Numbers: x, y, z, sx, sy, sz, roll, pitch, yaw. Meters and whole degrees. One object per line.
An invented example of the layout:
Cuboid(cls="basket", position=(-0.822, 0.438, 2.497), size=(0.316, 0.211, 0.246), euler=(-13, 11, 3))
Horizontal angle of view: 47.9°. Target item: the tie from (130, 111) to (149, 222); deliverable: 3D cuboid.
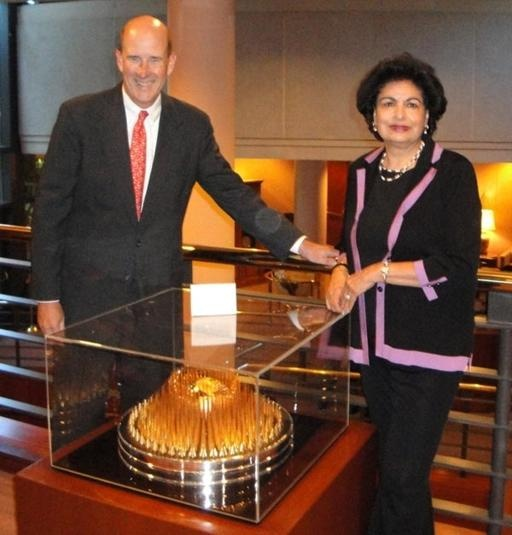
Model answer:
Cuboid(cls="tie", position=(-0.361, -0.316, 1.775), size=(0.052, 0.323, 0.086), euler=(1, 12, -12))
